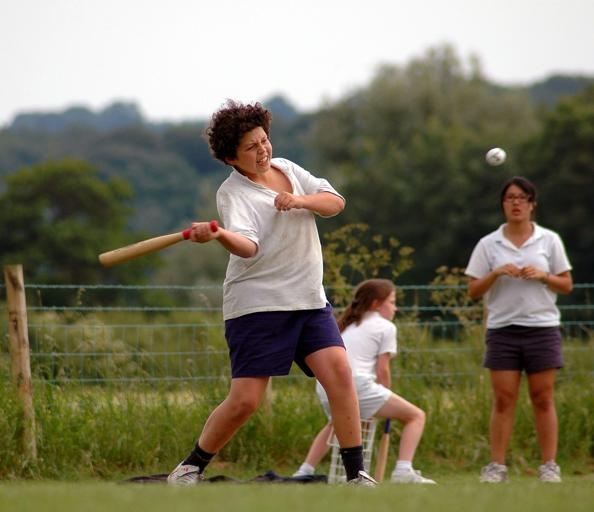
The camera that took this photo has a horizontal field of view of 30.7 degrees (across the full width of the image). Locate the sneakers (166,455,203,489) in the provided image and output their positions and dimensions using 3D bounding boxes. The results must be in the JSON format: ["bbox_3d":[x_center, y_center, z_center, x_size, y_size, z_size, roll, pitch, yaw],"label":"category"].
[{"bbox_3d":[-0.809,1.576,7.887,0.240,0.121,0.107,-15,-29,-40],"label":"sneakers"}]

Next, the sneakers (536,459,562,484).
[{"bbox_3d":[1.986,1.684,8.515,0.152,0.148,0.324,-2,-6,10],"label":"sneakers"}]

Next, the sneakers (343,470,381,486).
[{"bbox_3d":[0.476,1.591,7.785,0.090,0.090,0.189,8,-16,-36],"label":"sneakers"}]

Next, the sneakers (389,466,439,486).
[{"bbox_3d":[0.902,1.742,8.592,0.437,0.180,0.150,0,-3,1],"label":"sneakers"}]

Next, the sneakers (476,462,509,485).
[{"bbox_3d":[1.544,1.721,8.601,0.128,0.144,0.218,-5,-14,26],"label":"sneakers"}]

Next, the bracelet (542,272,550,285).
[{"bbox_3d":[1.967,0.169,8.557,0.019,0.074,0.075,6,-53,-53],"label":"bracelet"}]

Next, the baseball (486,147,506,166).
[{"bbox_3d":[1.714,-0.867,9.357,0.143,0.177,0.291,-1,-6,7],"label":"baseball"}]

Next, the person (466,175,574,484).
[{"bbox_3d":[1.783,0.554,8.664,0.815,2.422,0.370,-1,-6,8],"label":"person"}]
